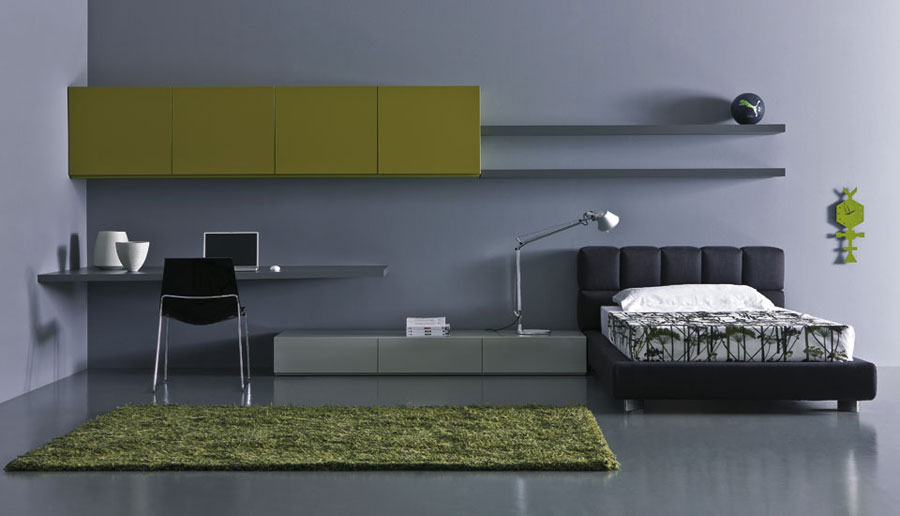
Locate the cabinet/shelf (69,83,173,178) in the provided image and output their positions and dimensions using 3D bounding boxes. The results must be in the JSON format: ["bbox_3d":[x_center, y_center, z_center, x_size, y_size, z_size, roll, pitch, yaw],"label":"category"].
[{"bbox_3d":[-3.352,-1.298,9.133,0.983,0.772,0.297,0,-1,-2],"label":"cabinet/shelf"}]

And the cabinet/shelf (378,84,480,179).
[{"bbox_3d":[-0.234,-1.305,9.185,0.971,0.738,0.301,0,0,1],"label":"cabinet/shelf"}]

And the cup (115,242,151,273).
[{"bbox_3d":[-3.205,-0.010,9.138,0.322,0.277,0.331,1,-1,0],"label":"cup"}]

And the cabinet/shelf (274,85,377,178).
[{"bbox_3d":[-1.292,-1.316,9.177,0.975,0.738,0.306,0,0,0],"label":"cabinet/shelf"}]

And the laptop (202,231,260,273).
[{"bbox_3d":[-2.267,-0.113,9.338,0.697,0.431,0.379,0,-1,-7],"label":"laptop"}]

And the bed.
[{"bbox_3d":[2.549,0.630,8.885,2.480,1.585,1.151,0,-3,1],"label":"bed"}]
